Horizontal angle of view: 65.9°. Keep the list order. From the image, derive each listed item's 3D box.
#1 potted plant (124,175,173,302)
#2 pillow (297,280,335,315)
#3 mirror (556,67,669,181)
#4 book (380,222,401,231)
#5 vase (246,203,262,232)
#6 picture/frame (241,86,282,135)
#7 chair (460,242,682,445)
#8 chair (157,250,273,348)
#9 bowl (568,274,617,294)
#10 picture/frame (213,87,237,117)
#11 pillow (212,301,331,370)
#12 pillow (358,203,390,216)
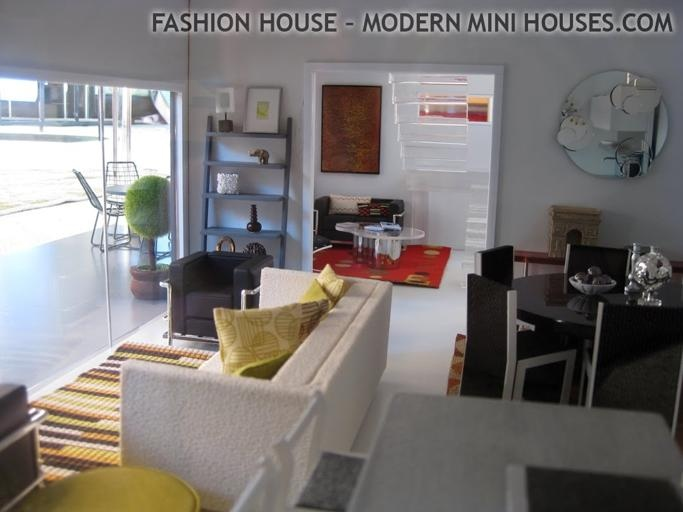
[{"bbox_3d":[-1.988,-0.207,5.452,0.583,1.333,0.536,-1,1,-35],"label":"potted plant"},{"bbox_3d":[-0.181,0.226,3.383,0.164,0.169,0.045,32,-11,35],"label":"pillow"},{"bbox_3d":[2.805,-1.362,5.452,1.070,1.061,0.073,3,12,9],"label":"mirror"},{"bbox_3d":[0.729,-0.431,7.602,0.184,0.106,0.250,8,9,31],"label":"book"},{"bbox_3d":[-1.052,-0.466,6.285,0.166,0.324,0.271,-1,12,-9],"label":"vase"},{"bbox_3d":[-0.919,-1.690,6.078,0.507,0.677,0.055,3,6,4],"label":"picture/frame"},{"bbox_3d":[1.301,0.413,3.578,1.373,0.968,1.442,0,13,2],"label":"chair"},{"bbox_3d":[-1.086,0.243,4.757,0.789,0.849,0.843,2,8,12],"label":"chair"},{"bbox_3d":[1.719,0.195,3.650,0.185,0.065,0.183,-2,10,0],"label":"bowl"},{"bbox_3d":[-1.344,-1.783,6.206,0.329,0.472,0.248,0,6,-4],"label":"picture/frame"},{"bbox_3d":[-0.354,0.417,2.752,0.387,0.256,0.112,-10,13,-35],"label":"pillow"},{"bbox_3d":[0.524,-0.807,9.114,0.360,0.243,0.102,-1,-18,6],"label":"pillow"}]
